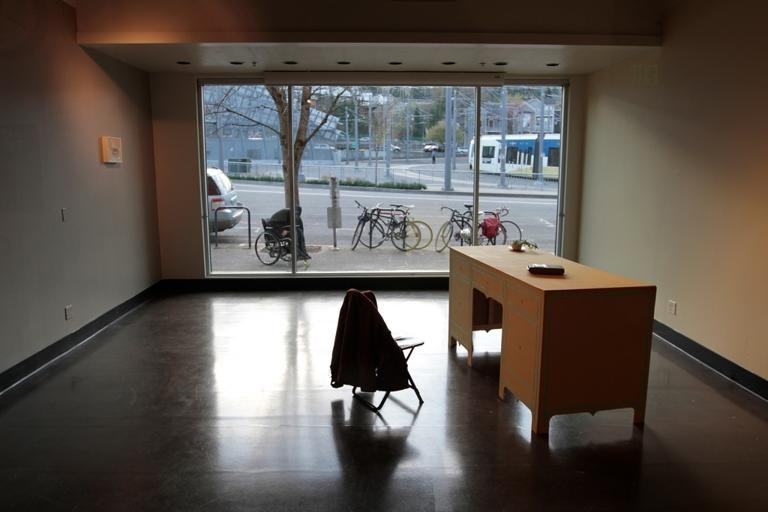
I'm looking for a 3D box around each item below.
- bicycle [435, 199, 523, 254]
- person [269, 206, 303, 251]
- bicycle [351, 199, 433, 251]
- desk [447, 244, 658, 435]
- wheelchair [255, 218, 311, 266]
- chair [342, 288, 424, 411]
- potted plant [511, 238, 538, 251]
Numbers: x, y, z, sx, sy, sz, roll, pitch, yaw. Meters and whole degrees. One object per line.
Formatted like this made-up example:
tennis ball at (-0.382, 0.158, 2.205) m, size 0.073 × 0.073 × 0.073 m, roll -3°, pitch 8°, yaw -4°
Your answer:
bicycle at (1.642, -0.560, 10.582) m, size 1.799 × 1.217 × 0.716 m, roll 2°, pitch 10°, yaw 4°
person at (-1.689, -0.512, 10.307) m, size 0.699 × 0.857 × 0.575 m, roll 5°, pitch 3°, yaw 1°
bicycle at (-0.012, -0.607, 10.612) m, size 1.768 × 1.228 × 0.672 m, roll 4°, pitch 9°, yaw 0°
desk at (1.783, 0.800, 6.774) m, size 1.297 × 1.461 × 2.801 m, roll -1°, pitch 9°, yaw -14°
wheelchair at (-1.865, -0.290, 10.218) m, size 0.936 × 0.899 × 0.737 m, roll 3°, pitch 8°, yaw 8°
chair at (-0.086, 0.944, 6.093) m, size 0.957 × 1.282 × 0.805 m, roll -2°, pitch 5°, yaw -29°
potted plant at (1.744, -0.125, 7.014) m, size 0.256 × 0.130 × 0.176 m, roll -1°, pitch 10°, yaw -3°
